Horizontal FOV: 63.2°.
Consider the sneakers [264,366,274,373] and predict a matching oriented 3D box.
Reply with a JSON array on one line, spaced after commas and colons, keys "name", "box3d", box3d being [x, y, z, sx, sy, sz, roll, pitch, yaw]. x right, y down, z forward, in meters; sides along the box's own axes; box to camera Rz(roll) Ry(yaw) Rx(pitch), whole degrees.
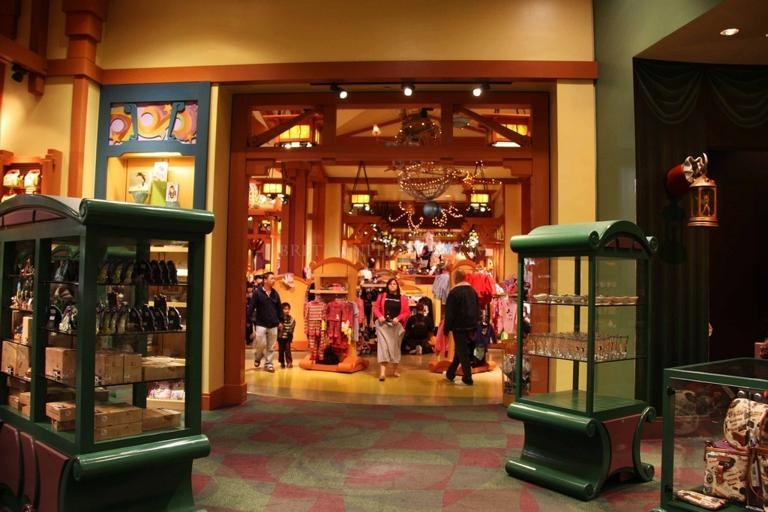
[{"name": "sneakers", "box3d": [-2.035, 2.003, 11.148, 0.186, 0.087, 0.209, -1, 4, -12]}]

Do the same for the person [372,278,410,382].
[{"name": "person", "box3d": [0.082, 1.244, 10.793, 0.489, 1.680, 0.773, 2, 4, 33]}]

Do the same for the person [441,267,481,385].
[{"name": "person", "box3d": [1.309, 1.162, 10.489, 0.560, 1.857, 0.605, 1, 4, 24]}]

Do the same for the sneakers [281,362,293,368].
[{"name": "sneakers", "box3d": [-1.805, 2.028, 11.595, 0.170, 0.084, 0.243, 3, -2, -26]}]
